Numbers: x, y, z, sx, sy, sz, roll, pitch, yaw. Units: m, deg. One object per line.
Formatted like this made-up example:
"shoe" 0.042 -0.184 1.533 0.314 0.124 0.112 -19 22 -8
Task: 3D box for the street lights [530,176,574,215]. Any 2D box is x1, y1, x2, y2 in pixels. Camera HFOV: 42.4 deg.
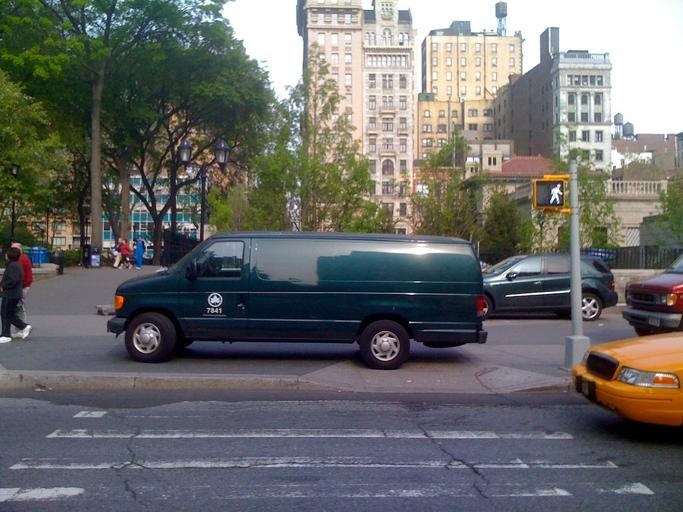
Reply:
"street lights" 4.239 -1.259 17.666 0.816 0.748 0.416 1 8 0

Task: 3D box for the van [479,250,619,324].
"van" 5.784 0.890 25.278 3.844 1.648 1.889 2 -3 0
